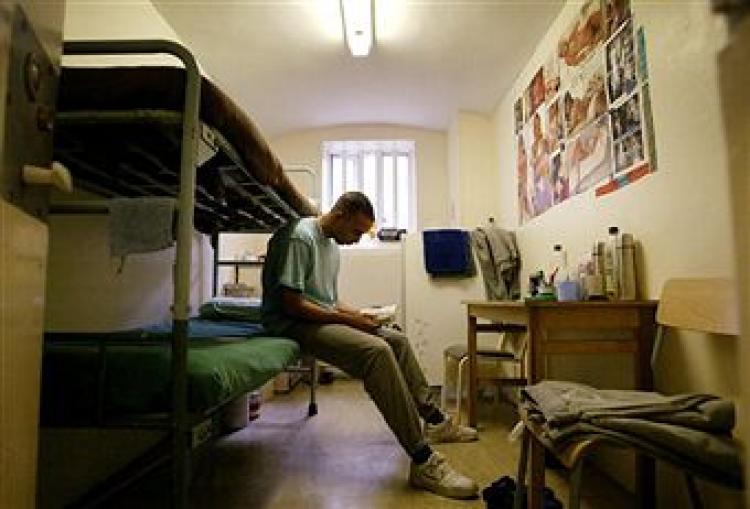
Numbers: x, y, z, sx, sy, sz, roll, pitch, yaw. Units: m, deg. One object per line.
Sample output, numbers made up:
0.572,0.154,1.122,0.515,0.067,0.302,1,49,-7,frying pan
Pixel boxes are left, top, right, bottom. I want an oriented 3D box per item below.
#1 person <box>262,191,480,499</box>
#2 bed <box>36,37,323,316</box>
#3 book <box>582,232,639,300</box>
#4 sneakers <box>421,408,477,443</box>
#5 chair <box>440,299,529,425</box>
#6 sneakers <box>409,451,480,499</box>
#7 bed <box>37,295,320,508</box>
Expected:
0.003,0.353,2.910,1.179,1.373,0.924,3,-1,6,person
-0.748,-0.296,2.366,0.414,0.951,0.979,2,4,8,bed
1.020,0.052,2.686,0.252,0.339,0.289,0,-3,2,book
0.392,0.921,3.107,0.338,0.161,0.120,1,-2,-14,sneakers
0.670,0.677,3.473,0.376,0.683,0.785,1,-3,9,chair
0.294,0.967,2.564,0.315,0.149,0.133,3,0,20,sneakers
-0.751,0.445,1.978,0.471,0.378,0.871,0,-2,-1,bed
